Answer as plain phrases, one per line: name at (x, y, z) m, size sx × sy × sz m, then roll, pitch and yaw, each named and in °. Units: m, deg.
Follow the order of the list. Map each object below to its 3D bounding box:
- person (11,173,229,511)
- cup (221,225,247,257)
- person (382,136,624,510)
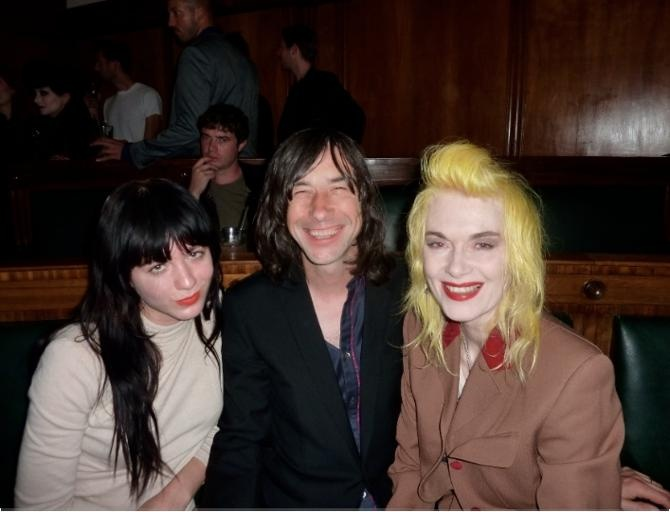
person at (-0.871, 0.374, 2.388) m, size 0.843 × 1.327 × 0.346 m, roll -5°, pitch 10°, yaw -15°
cup at (-0.579, -0.080, 3.376) m, size 0.130 × 0.189 × 0.215 m, roll 0°, pitch 1°, yaw 22°
person at (0.635, 0.289, 2.263) m, size 0.878 × 1.428 × 0.443 m, roll 2°, pitch 11°, yaw 25°
